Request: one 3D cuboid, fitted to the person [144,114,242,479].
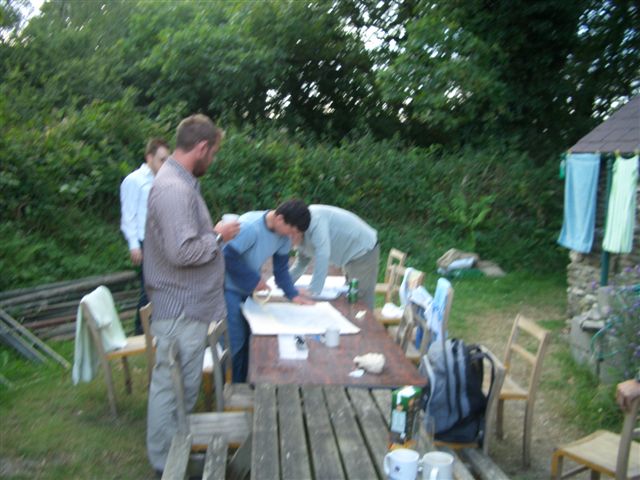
[{"bbox_3d":[-0.966,0.423,4.024,0.646,2.661,0.396,-3,8,-20],"label":"person"}]

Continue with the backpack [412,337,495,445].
[{"bbox_3d":[1.060,1.196,4.272,0.575,0.863,0.268,-2,7,-14],"label":"backpack"}]

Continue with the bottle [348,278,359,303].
[{"bbox_3d":[0.332,0.515,5.565,0.097,0.228,0.174,0,7,1],"label":"bottle"}]

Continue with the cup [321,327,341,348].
[{"bbox_3d":[0.081,0.787,4.480,0.155,0.151,0.143,0,7,0],"label":"cup"}]
